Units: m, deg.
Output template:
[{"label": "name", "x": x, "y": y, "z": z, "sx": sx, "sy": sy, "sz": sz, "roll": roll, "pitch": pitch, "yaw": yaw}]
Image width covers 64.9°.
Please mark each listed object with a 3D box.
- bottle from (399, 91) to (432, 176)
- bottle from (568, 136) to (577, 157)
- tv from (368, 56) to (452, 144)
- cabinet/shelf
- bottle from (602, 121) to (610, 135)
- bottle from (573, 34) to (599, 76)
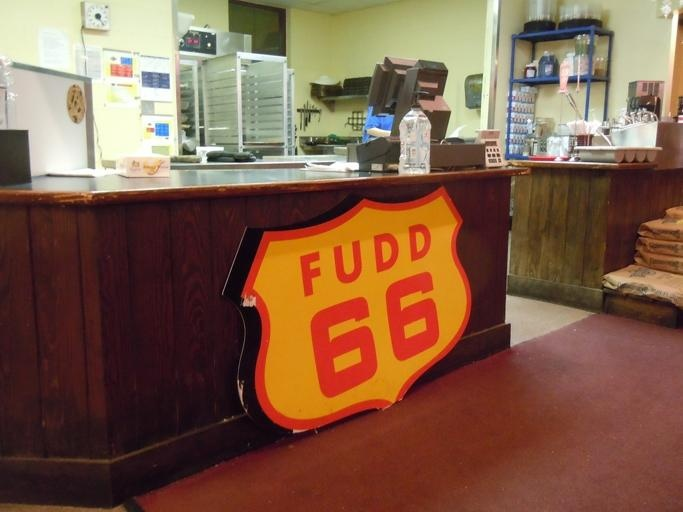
[{"label": "bottle", "x": 0.404, "y": -0.645, "z": 2.976, "sx": 0.184, "sy": 0.324, "sz": 0.471, "roll": 0, "pitch": 15, "yaw": 8}, {"label": "bottle", "x": 1.897, "y": -0.899, "z": 4.416, "sx": 0.066, "sy": 0.170, "sz": 0.297, "roll": 4, "pitch": 16, "yaw": 22}, {"label": "tv", "x": 0.409, "y": -0.944, "z": 3.324, "sx": 0.397, "sy": 0.542, "sz": 0.441, "roll": -14, "pitch": 23, "yaw": -42}, {"label": "cabinet/shelf", "x": 2.528, "y": -2.118, "z": 6.264, "sx": 1.084, "sy": 1.021, "sz": 0.522, "roll": 12, "pitch": 19, "yaw": 41}, {"label": "bottle", "x": 2.335, "y": -1.139, "z": 4.726, "sx": 0.069, "sy": 0.074, "sz": 1.148, "roll": 5, "pitch": 18, "yaw": 25}, {"label": "bottle", "x": 2.729, "y": -2.257, "z": 6.001, "sx": 0.284, "sy": 0.502, "sz": 0.326, "roll": 3, "pitch": 13, "yaw": 15}]
